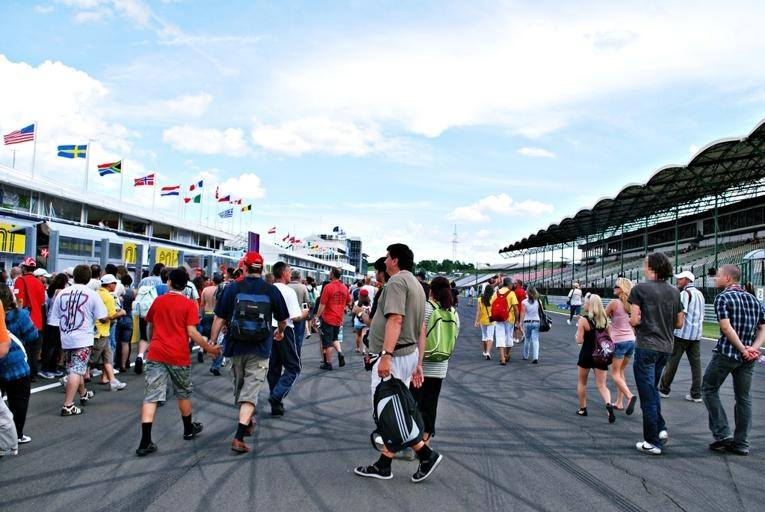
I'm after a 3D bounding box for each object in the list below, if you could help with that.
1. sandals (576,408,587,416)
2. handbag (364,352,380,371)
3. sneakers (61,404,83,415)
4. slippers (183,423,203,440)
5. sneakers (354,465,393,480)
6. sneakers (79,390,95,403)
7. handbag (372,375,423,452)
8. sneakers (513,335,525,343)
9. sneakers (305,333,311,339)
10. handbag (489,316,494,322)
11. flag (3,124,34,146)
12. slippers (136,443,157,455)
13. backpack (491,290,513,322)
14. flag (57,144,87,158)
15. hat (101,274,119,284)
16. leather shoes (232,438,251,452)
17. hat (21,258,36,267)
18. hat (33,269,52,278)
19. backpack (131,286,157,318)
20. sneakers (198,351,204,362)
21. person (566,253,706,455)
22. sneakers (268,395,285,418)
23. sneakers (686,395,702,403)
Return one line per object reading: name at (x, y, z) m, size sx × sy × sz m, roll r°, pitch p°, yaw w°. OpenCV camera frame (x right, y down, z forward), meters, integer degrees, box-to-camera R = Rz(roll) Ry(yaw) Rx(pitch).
sandals at (3.188, 2.474, 9.780) m, size 0.092 × 0.120 × 0.193 m, roll -1°, pitch 7°, yaw -13°
handbag at (-0.137, 1.273, 7.489) m, size 0.076 × 0.147 × 0.240 m, roll 14°, pitch -2°, yaw 21°
sneakers at (-4.669, 2.329, 9.282) m, size 0.373 × 0.166 × 0.132 m, roll 0°, pitch 2°, yaw -36°
slippers at (-2.632, 2.440, 8.535) m, size 0.114 × 0.132 × 0.312 m, roll 7°, pitch 5°, yaw 11°
sneakers at (-0.091, 2.631, 7.527) m, size 0.444 × 0.162 × 0.179 m, roll 5°, pitch -14°, yaw 11°
sneakers at (-4.769, 2.252, 9.880) m, size 0.110 × 0.142 × 0.316 m, roll 1°, pitch 14°, yaw 8°
handbag at (0.191, 1.886, 7.311) m, size 0.584 × 0.883 × 0.293 m, roll 1°, pitch 5°, yaw -1°
sneakers at (4.182, 2.506, 18.702) m, size 0.207 × 0.244 × 0.574 m, roll 2°, pitch -3°, yaw 2°
sneakers at (-2.251, 2.408, 18.617) m, size 0.138 × 0.157 × 0.329 m, roll 25°, pitch -19°, yaw 4°
handbag at (2.616, 1.515, 14.539) m, size 0.084 × 0.033 × 0.110 m, roll 44°, pitch -36°, yaw -17°
flag at (-17.036, -5.847, 28.838) m, size 1.165 × 0.995 × 2.417 m, roll -2°, pitch 6°, yaw -33°
slippers at (-3.037, 2.504, 7.947) m, size 0.282 × 0.121 × 0.106 m, roll 0°, pitch 0°, yaw -43°
backpack at (2.830, 1.188, 14.377) m, size 0.512 × 0.758 × 0.441 m, roll -9°, pitch -33°, yaw 33°
flag at (-16.835, -5.765, 33.496) m, size 1.006 × 0.674 × 2.198 m, roll 0°, pitch 5°, yaw -11°
hat at (-5.010, 0.423, 11.264) m, size 0.168 × 0.123 × 0.236 m, roll 8°, pitch 12°, yaw 24°
leather shoes at (-1.838, 2.484, 8.017) m, size 0.117 × 0.114 × 0.267 m, roll 0°, pitch -12°, yaw 16°
hat at (-6.588, 0.107, 11.429) m, size 0.230 × 0.114 × 0.160 m, roll 3°, pitch -1°, yaw 42°
hat at (-6.643, 0.325, 12.041) m, size 0.228 × 0.138 × 0.349 m, roll 4°, pitch 1°, yaw 25°
backpack at (-4.305, 0.822, 11.101) m, size 0.547 × 0.541 × 0.308 m, roll -10°, pitch -21°, yaw 33°
sneakers at (-4.012, 2.220, 13.493) m, size 0.096 × 0.268 × 0.115 m, roll 1°, pitch 24°, yaw 3°
person at (3.739, 1.300, 8.474) m, size 0.639 × 2.672 × 0.834 m, roll 5°, pitch 6°, yaw 33°
sneakers at (-1.613, 2.283, 9.398) m, size 0.160 × 0.370 × 0.134 m, roll 0°, pitch -10°, yaw -27°
sneakers at (5.460, 2.495, 10.711) m, size 0.090 × 0.111 × 0.240 m, roll -4°, pitch 14°, yaw -38°
